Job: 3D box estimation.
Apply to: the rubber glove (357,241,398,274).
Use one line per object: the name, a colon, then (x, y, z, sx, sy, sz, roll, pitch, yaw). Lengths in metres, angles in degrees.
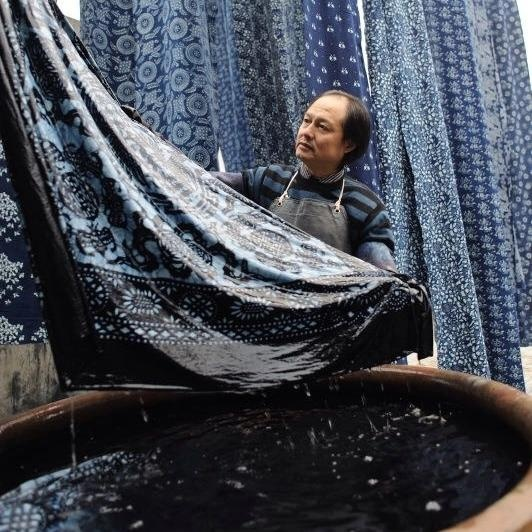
rubber glove: (0.281, -0.024, 1.563, 0.084, 0.082, 0.084, 1, -17, 1)

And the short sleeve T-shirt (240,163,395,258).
short sleeve T-shirt: (0.123, -0.140, 1.578, 0.286, 0.202, 0.087, 15, -30, 15)
